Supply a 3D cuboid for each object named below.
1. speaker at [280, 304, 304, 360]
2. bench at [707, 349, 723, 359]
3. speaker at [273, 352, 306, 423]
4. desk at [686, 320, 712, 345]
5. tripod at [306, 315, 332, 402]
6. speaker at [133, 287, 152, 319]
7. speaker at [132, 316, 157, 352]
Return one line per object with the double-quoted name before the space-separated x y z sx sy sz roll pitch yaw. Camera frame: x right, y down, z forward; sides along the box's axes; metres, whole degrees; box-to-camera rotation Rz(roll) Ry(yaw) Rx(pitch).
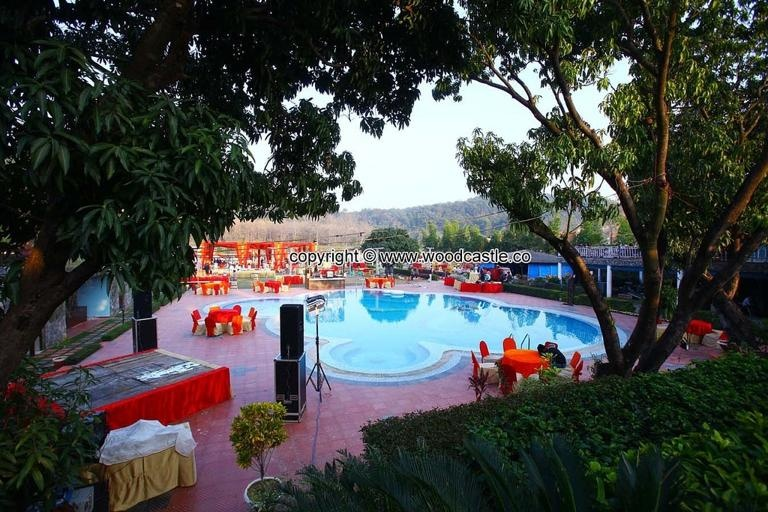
"speaker" -2.116 1.703 10.599 0.534 1.223 0.407 -1 -1 -15
"bench" 10.244 2.968 14.283 0.364 0.160 1.682 -3 -1 35
"speaker" -2.162 2.950 10.634 0.659 1.390 0.580 -2 5 1
"desk" 10.784 2.554 15.759 0.747 0.928 0.544 -3 -1 37
"tripod" -1.708 2.722 12.253 0.639 2.215 0.706 0 4 -3
"speaker" -7.338 1.462 13.995 0.471 0.803 0.682 -1 -1 -30
"speaker" -7.148 2.296 13.807 0.637 0.959 0.292 -1 -1 -41
